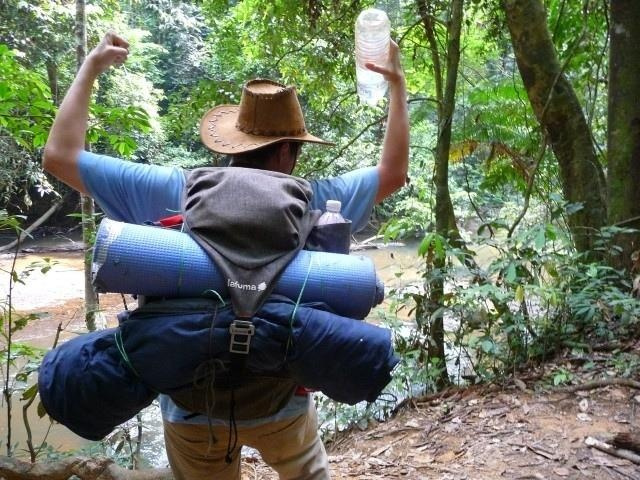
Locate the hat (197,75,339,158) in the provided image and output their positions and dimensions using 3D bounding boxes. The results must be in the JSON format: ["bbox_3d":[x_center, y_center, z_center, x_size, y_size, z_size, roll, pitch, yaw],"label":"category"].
[{"bbox_3d":[-0.293,-0.777,3.379,0.594,0.260,0.522,-18,41,-34],"label":"hat"}]

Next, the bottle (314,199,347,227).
[{"bbox_3d":[0.062,-0.148,3.273,0.136,0.130,0.136,6,6,33],"label":"bottle"}]
